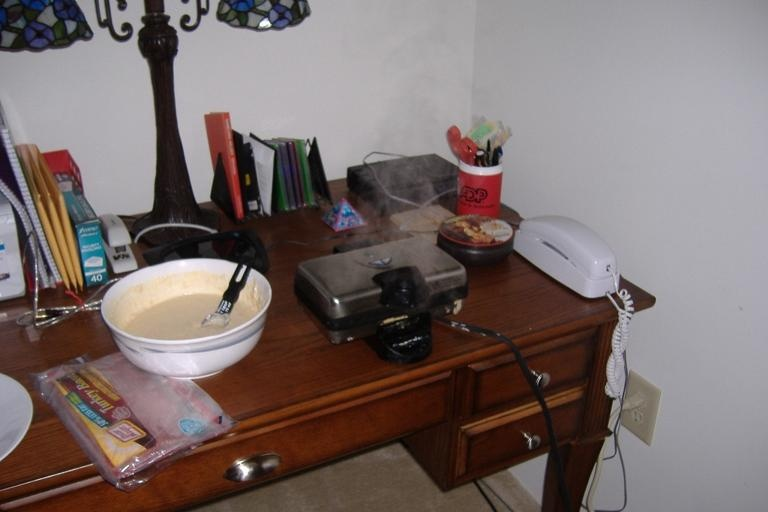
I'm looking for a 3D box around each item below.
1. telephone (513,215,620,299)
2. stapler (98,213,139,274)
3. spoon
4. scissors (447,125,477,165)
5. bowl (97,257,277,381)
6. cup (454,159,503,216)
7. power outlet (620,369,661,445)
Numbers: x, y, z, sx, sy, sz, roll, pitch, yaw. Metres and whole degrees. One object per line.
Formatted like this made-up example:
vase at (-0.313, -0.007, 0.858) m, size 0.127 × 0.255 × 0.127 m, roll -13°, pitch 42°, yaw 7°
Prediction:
telephone at (0.453, -0.020, 1.403) m, size 0.117 × 0.150 × 0.380 m, roll -15°, pitch 30°, yaw -20°
stapler at (-0.695, -0.060, 1.437) m, size 0.067 × 0.084 × 0.243 m, roll -10°, pitch 37°, yaw -34°
spoon at (-0.331, 0.057, 1.183) m, size 0.053 × 0.028 × 0.198 m, roll 18°, pitch 48°, yaw -7°
scissors at (0.209, -0.294, 1.563) m, size 0.046 × 0.050 × 0.131 m, roll 16°, pitch -7°, yaw 40°
bowl at (-0.404, 0.133, 1.169) m, size 0.342 × 0.177 × 0.243 m, roll -6°, pitch 25°, yaw -7°
cup at (0.267, -0.188, 1.573) m, size 0.110 × 0.175 × 0.105 m, roll 1°, pitch 34°, yaw 0°
power outlet at (0.708, 0.419, 1.529) m, size 0.066 × 0.191 × 0.102 m, roll -14°, pitch 24°, yaw -29°
